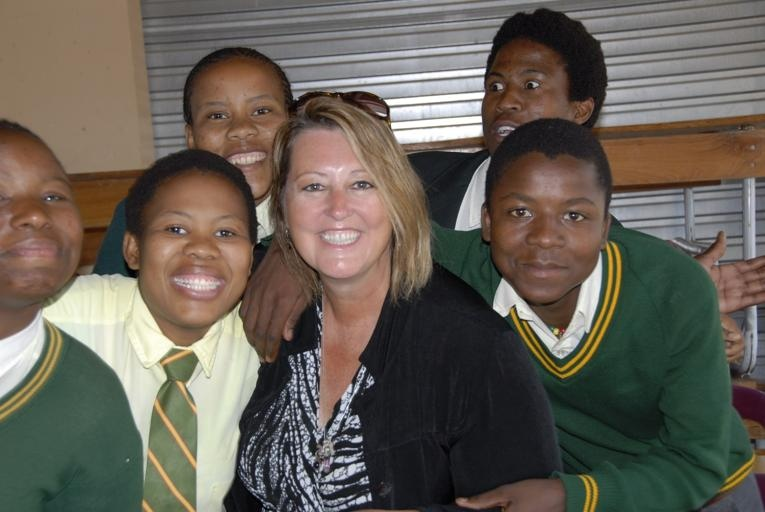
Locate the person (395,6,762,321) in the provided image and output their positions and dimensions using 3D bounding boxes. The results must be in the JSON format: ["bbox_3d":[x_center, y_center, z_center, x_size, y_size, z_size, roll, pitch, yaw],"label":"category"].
[{"bbox_3d":[1.196,-0.651,4.411,2.629,1.427,1.094,10,5,33],"label":"person"}]
